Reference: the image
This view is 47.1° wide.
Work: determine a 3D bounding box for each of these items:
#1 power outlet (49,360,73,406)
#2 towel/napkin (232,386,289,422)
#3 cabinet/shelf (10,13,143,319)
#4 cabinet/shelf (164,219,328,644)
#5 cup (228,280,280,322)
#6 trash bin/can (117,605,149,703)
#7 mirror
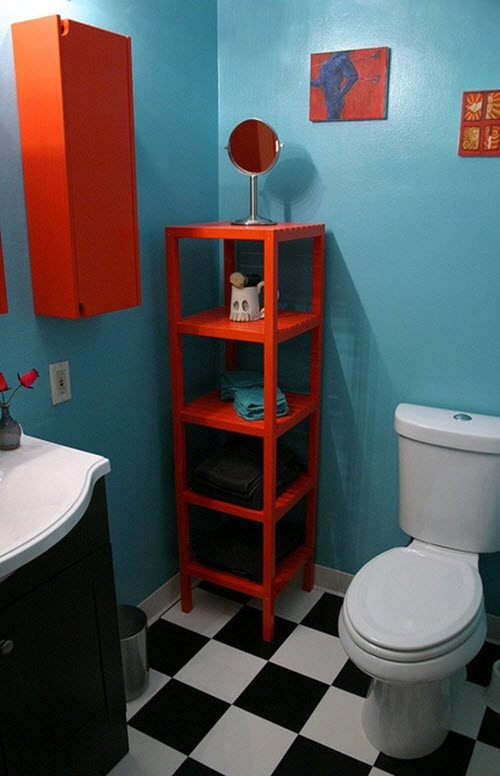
[{"bbox_3d":[-0.453,-0.016,1.366,0.008,0.109,0.080,5,10,17],"label":"power outlet"},{"bbox_3d":[0.030,0.023,1.678,0.113,0.047,0.095,-12,28,-36],"label":"towel/napkin"},{"bbox_3d":[-0.342,-0.472,1.197,0.085,0.493,0.173,15,21,34],"label":"cabinet/shelf"},{"bbox_3d":[-0.029,0.120,1.831,0.492,1.260,0.528,6,11,30],"label":"cabinet/shelf"},{"bbox_3d":[-0.010,-0.249,1.641,0.095,0.112,0.115,0,11,-2],"label":"cup"},{"bbox_3d":[-0.305,0.762,1.548,0.075,0.160,0.088,-3,-26,-8],"label":"trash bin/can"},{"bbox_3d":[0.007,-0.604,1.605,0.145,0.325,0.116,0,-6,4],"label":"mirror"}]
